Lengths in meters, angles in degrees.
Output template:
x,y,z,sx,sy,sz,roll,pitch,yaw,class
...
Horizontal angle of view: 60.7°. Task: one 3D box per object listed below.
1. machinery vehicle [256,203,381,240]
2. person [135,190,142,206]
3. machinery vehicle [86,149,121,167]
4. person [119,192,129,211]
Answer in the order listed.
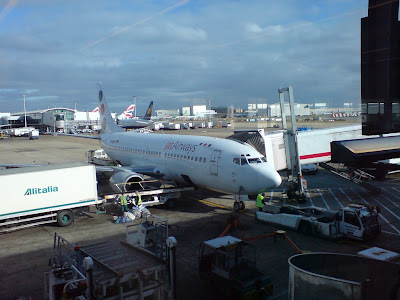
x,y,z,sx,sy,sz,roll,pitch,yaw,class
9.034,5.191,24.936,5.420,1.148,3.999,1,1,44,machinery vehicle
-5.391,4.301,30.091,0.571,1.267,0.706,-9,12,-28,person
-13.055,1.087,46.952,5.917,1.881,2.701,9,9,41,machinery vehicle
-6.599,4.582,29.889,0.606,1.706,0.976,-5,11,-11,person
